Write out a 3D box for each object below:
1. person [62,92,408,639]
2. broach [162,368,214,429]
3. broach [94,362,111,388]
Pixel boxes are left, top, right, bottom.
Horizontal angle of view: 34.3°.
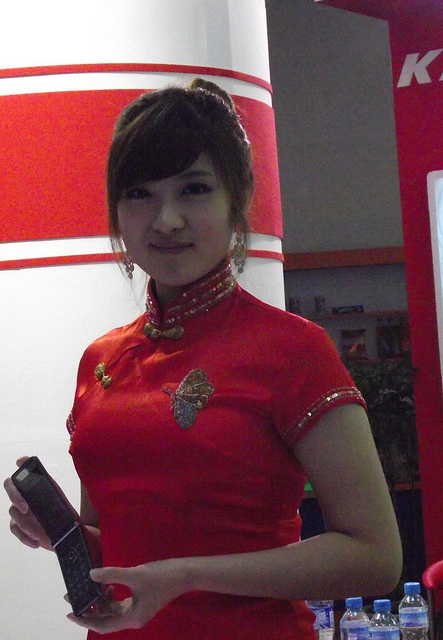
[{"bbox_3d":[-0.066,0.026,0.950,0.387,0.649,0.405,-13,7,-12],"label":"person"},{"bbox_3d":[-0.037,0.096,0.884,0.058,0.044,0.043,-13,7,-25],"label":"broach"},{"bbox_3d":[-0.170,0.077,1.017,0.018,0.033,0.023,-10,-27,-30],"label":"broach"}]
